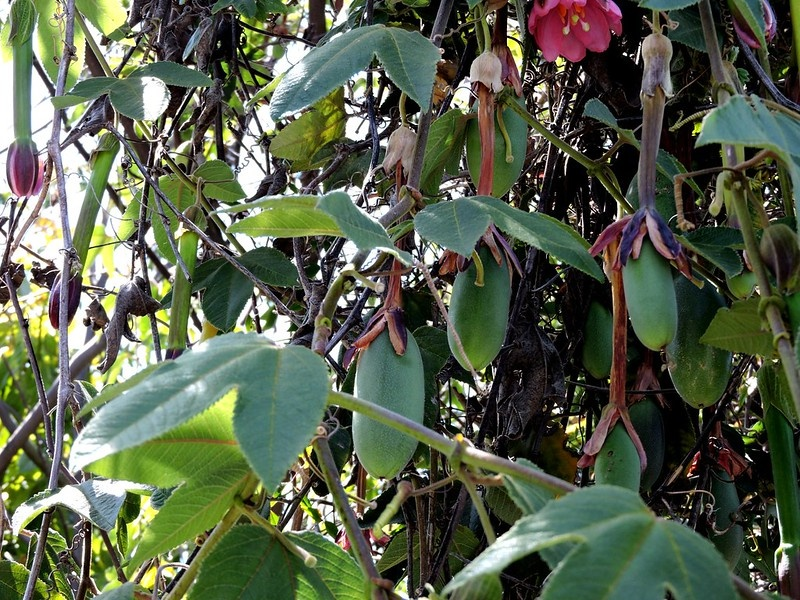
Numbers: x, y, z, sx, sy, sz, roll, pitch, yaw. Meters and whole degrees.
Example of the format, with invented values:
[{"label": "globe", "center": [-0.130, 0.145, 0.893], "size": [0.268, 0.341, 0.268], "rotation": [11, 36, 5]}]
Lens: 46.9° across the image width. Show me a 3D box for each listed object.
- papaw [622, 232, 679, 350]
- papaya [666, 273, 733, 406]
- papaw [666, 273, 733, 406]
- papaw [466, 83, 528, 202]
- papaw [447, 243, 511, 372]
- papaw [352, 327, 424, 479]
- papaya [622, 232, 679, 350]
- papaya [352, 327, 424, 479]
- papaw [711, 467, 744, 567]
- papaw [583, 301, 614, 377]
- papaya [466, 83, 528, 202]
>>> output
[{"label": "papaw", "center": [0.315, -0.010, 1.192], "size": [0.056, 0.139, 0.056], "rotation": [-5, -13, 3]}, {"label": "papaya", "center": [0.422, 0.068, 1.361], "size": [0.084, 0.208, 0.101], "rotation": [3, -5, 0]}, {"label": "papaw", "center": [0.423, 0.066, 1.359], "size": [0.084, 0.208, 0.101], "rotation": [3, -5, 0]}, {"label": "papaw", "center": [0.141, -0.234, 1.361], "size": [0.093, 0.172, 0.079], "rotation": [-6, -25, 5]}, {"label": "papaw", "center": [0.107, 0.017, 1.301], "size": [0.072, 0.180, 0.093], "rotation": [2, -7, -2]}, {"label": "papaw", "center": [-0.010, 0.132, 1.264], "size": [0.080, 0.196, 0.091], "rotation": [12, -20, -9]}, {"label": "papaya", "center": [0.316, -0.012, 1.194], "size": [0.056, 0.139, 0.056], "rotation": [-5, -13, 3]}, {"label": "papaya", "center": [-0.009, 0.132, 1.261], "size": [0.080, 0.196, 0.091], "rotation": [12, -20, -9]}, {"label": "papaw", "center": [0.519, 0.351, 1.482], "size": [0.032, 0.140, 0.094], "rotation": [-8, -23, 28]}, {"label": "papaw", "center": [0.311, 0.062, 1.468], "size": [0.042, 0.042, 0.143], "rotation": [19, -47, 40]}, {"label": "papaya", "center": [0.141, -0.234, 1.361], "size": [0.093, 0.172, 0.079], "rotation": [-6, -25, 5]}]
